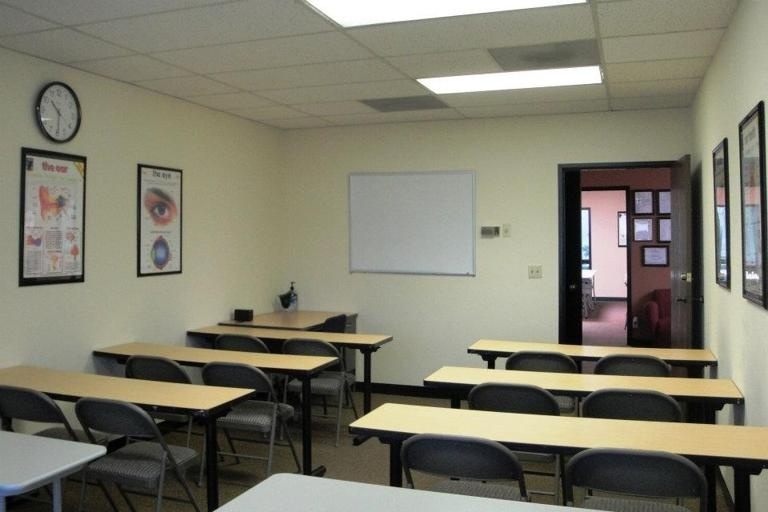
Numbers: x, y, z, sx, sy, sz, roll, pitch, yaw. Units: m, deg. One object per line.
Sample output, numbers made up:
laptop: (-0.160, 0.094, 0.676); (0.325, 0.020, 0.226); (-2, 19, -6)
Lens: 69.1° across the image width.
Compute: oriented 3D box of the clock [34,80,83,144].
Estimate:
clock: (-2.864, -1.262, 4.915); (0.045, 0.541, 0.369); (1, 1, 33)

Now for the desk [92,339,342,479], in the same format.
desk: (-1.708, 1.478, 5.301); (2.261, 1.122, 0.890); (2, 0, 16)

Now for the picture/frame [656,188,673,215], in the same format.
picture/frame: (5.270, -1.020, 10.563); (0.168, 0.448, 0.109); (1, 1, 25)

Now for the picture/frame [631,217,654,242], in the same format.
picture/frame: (4.912, -0.492, 10.629); (0.469, 0.619, 0.068); (-1, 0, 7)

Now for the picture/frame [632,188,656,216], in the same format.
picture/frame: (4.960, -1.018, 10.674); (0.534, 0.719, 0.076); (1, -5, 10)

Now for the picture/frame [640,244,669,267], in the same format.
picture/frame: (5.125, -0.008, 10.551); (0.427, 0.366, 0.035); (0, -1, 9)

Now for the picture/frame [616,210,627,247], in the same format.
picture/frame: (6.337, -0.711, 14.979); (0.194, 0.965, 0.292); (0, 1, 14)

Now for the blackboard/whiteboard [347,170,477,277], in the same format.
blackboard/whiteboard: (0.424, -0.423, 7.084); (1.383, 1.027, 0.058); (0, 4, 17)

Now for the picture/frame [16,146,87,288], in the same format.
picture/frame: (-2.896, -0.329, 4.891); (0.024, 1.155, 0.536); (1, 1, 34)

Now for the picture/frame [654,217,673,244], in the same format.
picture/frame: (5.244, -0.486, 10.524); (0.208, 0.454, 0.061); (0, 1, 10)

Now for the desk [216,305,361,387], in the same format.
desk: (-0.966, 0.795, 6.799); (0.849, 0.889, 1.485); (1, 2, 13)
